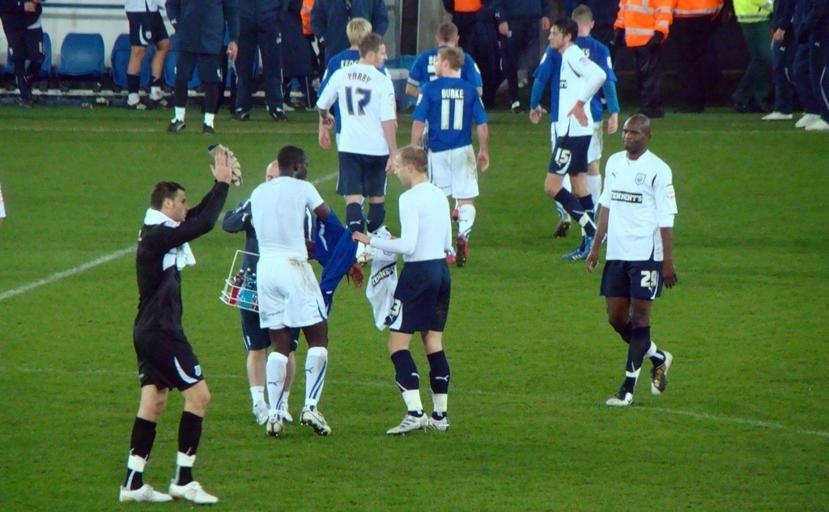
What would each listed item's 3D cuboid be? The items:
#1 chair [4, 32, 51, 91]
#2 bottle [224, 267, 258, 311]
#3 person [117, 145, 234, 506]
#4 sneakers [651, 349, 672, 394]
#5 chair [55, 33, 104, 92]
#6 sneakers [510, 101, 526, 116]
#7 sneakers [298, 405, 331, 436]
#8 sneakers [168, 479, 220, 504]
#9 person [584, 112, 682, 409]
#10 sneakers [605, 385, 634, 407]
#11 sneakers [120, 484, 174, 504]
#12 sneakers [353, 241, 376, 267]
[{"bbox_3d":[-7.614,-3.923,30.724,0.975,1.226,1.088,2,4,4],"label":"chair"},{"bbox_3d":[-2.070,0.368,18.513,0.436,0.398,0.437,12,-3,-10],"label":"bottle"},{"bbox_3d":[-2.713,0.804,17.512,1.064,3.699,1.164,1,10,2],"label":"person"},{"bbox_3d":[3.013,1.423,18.878,0.249,0.575,0.204,1,13,-5],"label":"sneakers"},{"bbox_3d":[-6.616,-3.903,31.065,1.005,1.161,0.942,1,-1,-5],"label":"chair"},{"bbox_3d":[2.072,-2.964,31.047,0.272,0.263,0.584,2,14,5],"label":"sneakers"},{"bbox_3d":[-1.122,1.922,18.171,0.193,0.279,0.515,-21,-44,26],"label":"sneakers"},{"bbox_3d":[-2.465,2.626,17.360,0.574,0.243,0.230,11,1,-1],"label":"sneakers"},{"bbox_3d":[2.714,0.027,18.874,0.892,3.454,0.800,0,10,-6],"label":"person"},{"bbox_3d":[2.493,1.696,18.744,0.328,0.164,0.186,-1,1,-35],"label":"sneakers"},{"bbox_3d":[-2.986,2.653,17.370,0.573,0.223,0.229,1,3,-4],"label":"sneakers"},{"bbox_3d":[-0.587,-0.060,18.689,0.193,0.119,0.253,-4,-10,19],"label":"sneakers"}]
